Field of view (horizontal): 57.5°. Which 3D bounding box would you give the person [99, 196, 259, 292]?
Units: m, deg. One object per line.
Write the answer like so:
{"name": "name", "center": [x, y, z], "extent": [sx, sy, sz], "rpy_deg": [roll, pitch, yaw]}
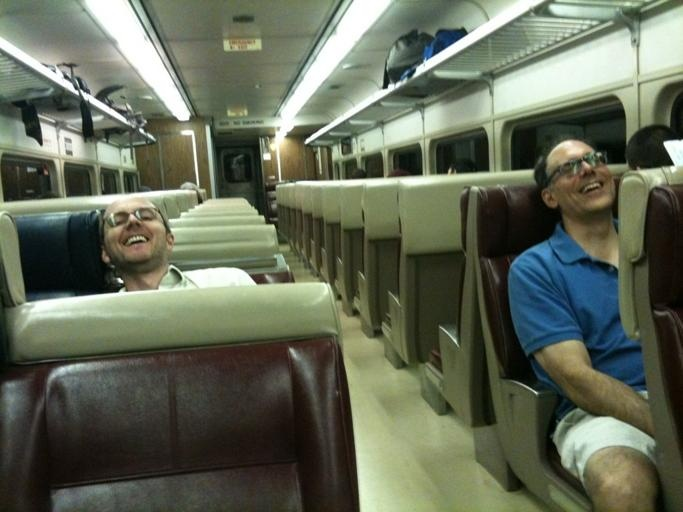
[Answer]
{"name": "person", "center": [-0.874, 0.008, 3.471], "extent": [0.723, 0.730, 0.565], "rpy_deg": [-7, 0, 34]}
